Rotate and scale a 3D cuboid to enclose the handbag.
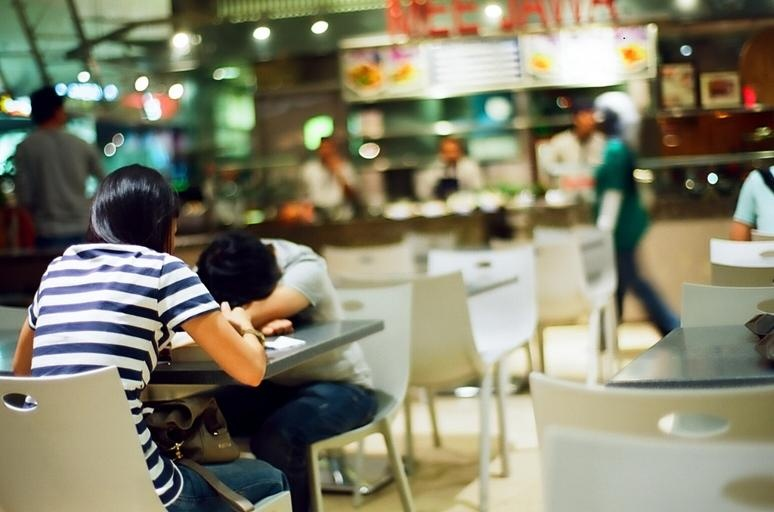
[{"bbox_3d":[-0.618,0.472,2.063,0.359,0.142,0.296,3,-2,11],"label":"handbag"}]

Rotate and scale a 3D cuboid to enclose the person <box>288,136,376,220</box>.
[{"bbox_3d":[-0.506,-0.635,5.851,0.634,0.598,1.510,-6,13,-1],"label":"person"}]

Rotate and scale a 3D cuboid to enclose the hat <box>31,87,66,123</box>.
[{"bbox_3d":[-1.889,-0.815,3.962,0.230,0.201,0.126,0,15,23],"label":"hat"}]

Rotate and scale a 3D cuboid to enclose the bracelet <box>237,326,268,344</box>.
[{"bbox_3d":[-0.383,0.221,2.052,0.054,0.053,0.020,-1,56,24],"label":"bracelet"}]
